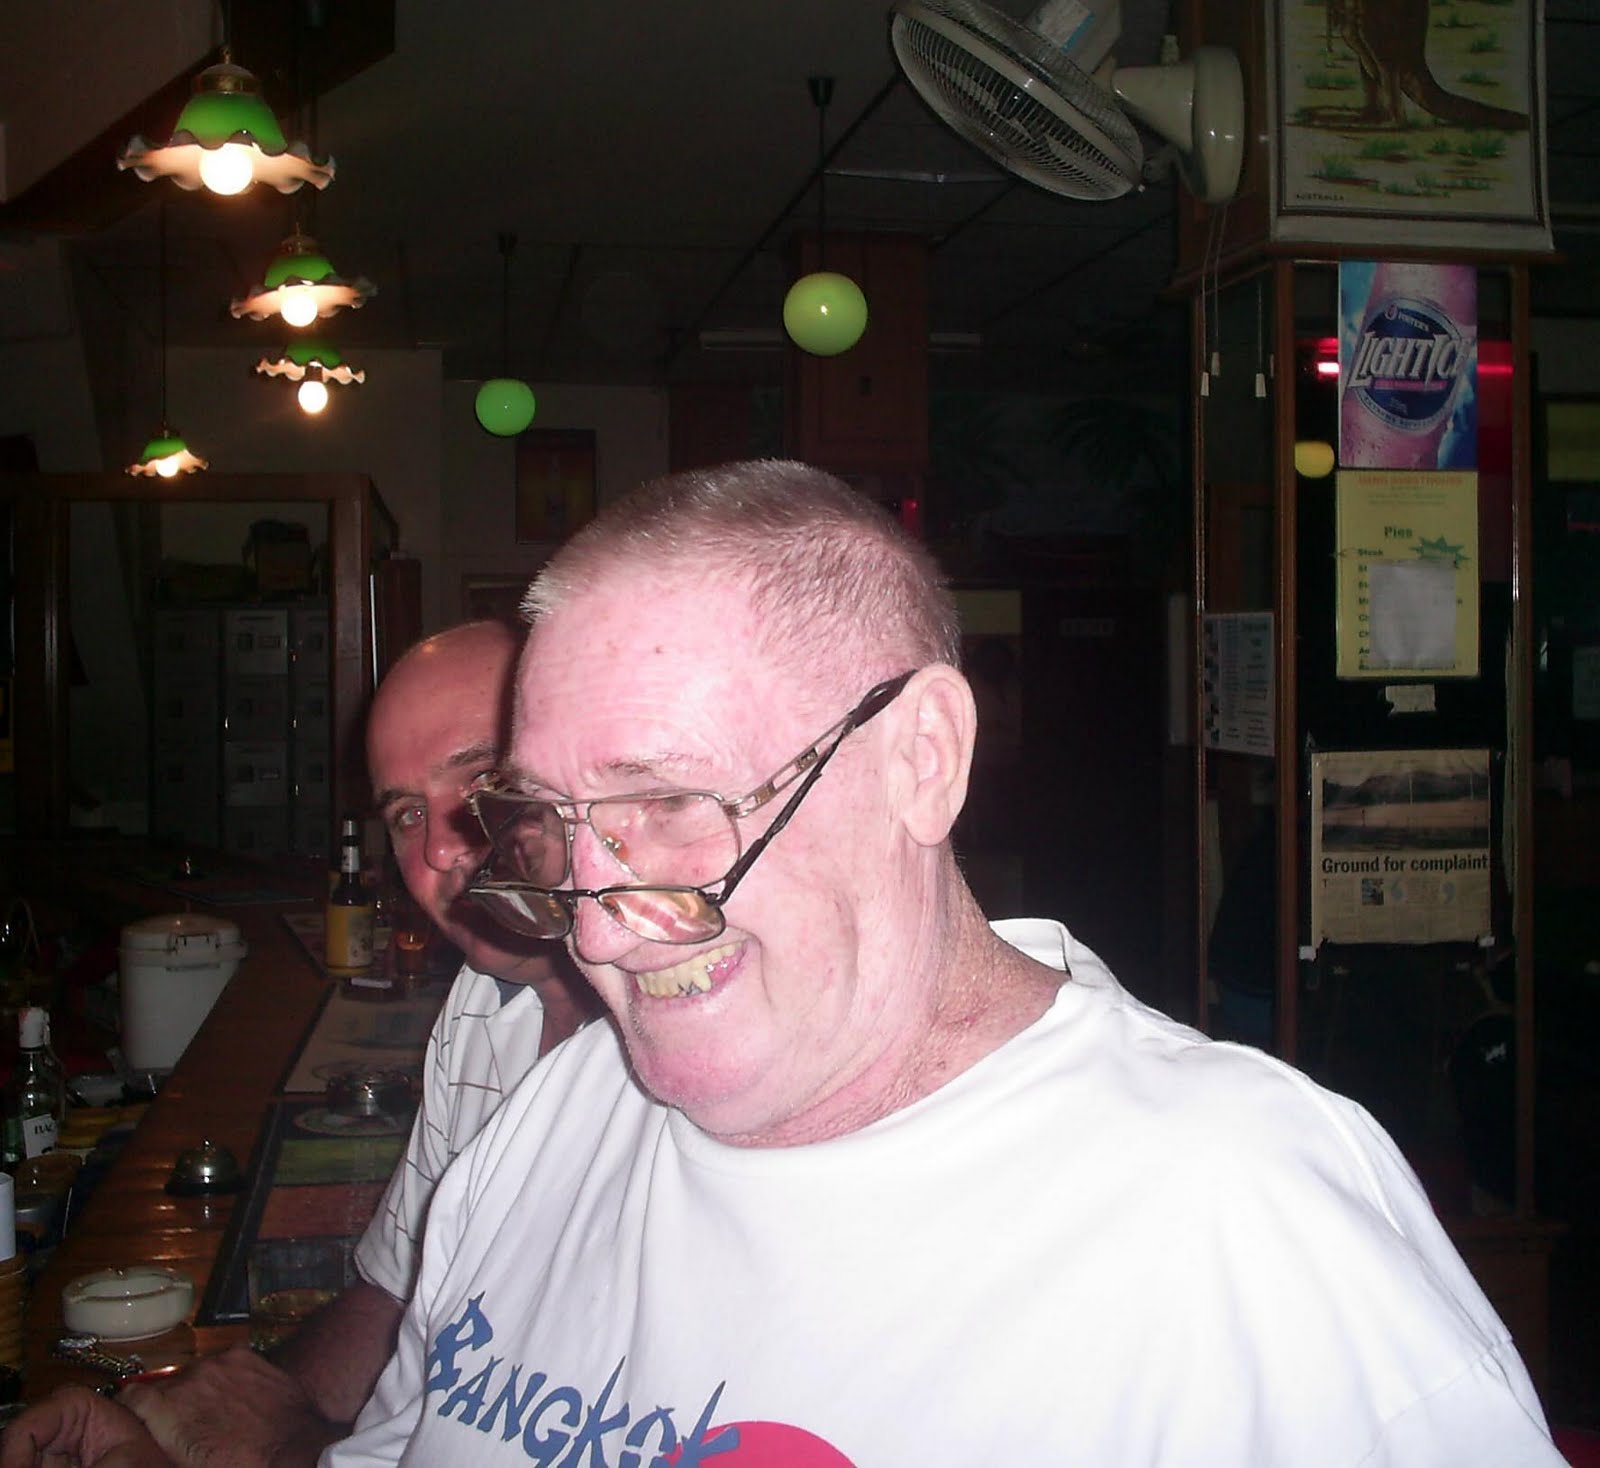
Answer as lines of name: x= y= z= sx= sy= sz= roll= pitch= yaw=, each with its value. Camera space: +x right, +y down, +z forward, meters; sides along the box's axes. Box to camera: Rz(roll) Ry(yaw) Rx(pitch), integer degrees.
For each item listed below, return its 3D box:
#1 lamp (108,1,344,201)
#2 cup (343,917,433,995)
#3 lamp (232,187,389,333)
lamp: x=-1.303 y=-1.318 z=3.944 sx=0.364 sy=0.532 sz=0.420 roll=-2 pitch=-2 yaw=-5
cup: x=-0.899 y=0.488 z=3.760 sx=0.178 sy=0.164 sz=0.109 roll=4 pitch=-7 yaw=-22
lamp: x=-1.481 y=-1.381 z=5.111 sx=0.320 sy=0.284 sz=0.414 roll=-6 pitch=-4 yaw=-41
